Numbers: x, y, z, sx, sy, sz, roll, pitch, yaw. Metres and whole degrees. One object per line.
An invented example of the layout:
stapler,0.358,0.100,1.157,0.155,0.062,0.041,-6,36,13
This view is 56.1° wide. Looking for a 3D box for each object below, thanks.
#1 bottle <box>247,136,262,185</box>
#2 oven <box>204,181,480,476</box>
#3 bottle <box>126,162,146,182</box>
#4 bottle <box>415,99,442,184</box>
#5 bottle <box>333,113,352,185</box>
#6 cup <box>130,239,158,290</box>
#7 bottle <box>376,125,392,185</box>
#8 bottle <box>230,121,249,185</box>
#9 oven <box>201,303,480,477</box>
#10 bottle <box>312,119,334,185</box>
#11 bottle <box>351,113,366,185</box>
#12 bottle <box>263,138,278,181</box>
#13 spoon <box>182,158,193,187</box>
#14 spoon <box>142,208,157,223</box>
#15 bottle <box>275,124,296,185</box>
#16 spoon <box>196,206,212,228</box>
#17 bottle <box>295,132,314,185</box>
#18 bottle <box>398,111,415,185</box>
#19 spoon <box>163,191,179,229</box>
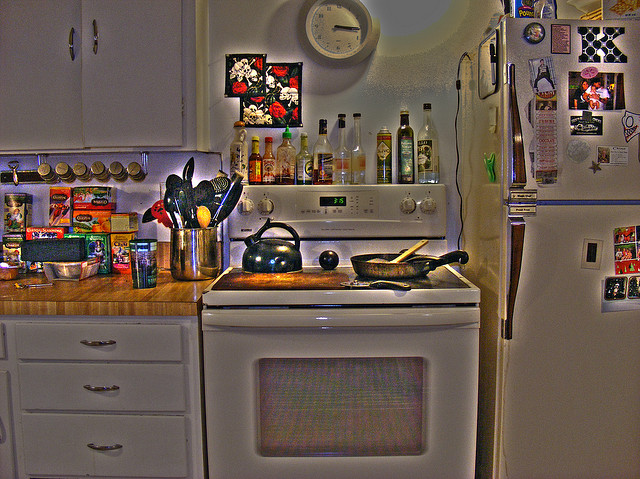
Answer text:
bottle,-0.318,-0.376,2.908,0.070,0.221,0.123,-2,2,-5
oven,0.082,0.447,2.993,1.256,1.929,1.226,0,1,0
bottle,-0.919,-0.333,2.980,0.093,0.094,0.069,-2,2,-18
bottle,0.539,-0.479,2.929,0.107,0.422,0.188,0,2,39
bottle,0.114,-0.431,2.902,0.066,0.330,0.091,0,2,37
cup,-0.777,0.105,2.621,0.129,0.216,0.129,-1,3,0
bottle,0.312,-0.405,2.920,0.069,0.268,0.051,-1,2,10
bottle,-0.390,-0.421,2.877,0.095,0.321,0.245,-2,2,-8
oven,0.085,0.401,2.651,0.981,0.828,0.700,0,-3,-1
bottle,0.013,-0.410,2.873,0.107,0.300,0.091,-1,2,0
bottle,0.187,-0.433,2.930,0.073,0.335,0.148,-1,2,4
bottle,-0.247,-0.380,2.873,0.057,0.201,0.039,-2,2,-10
spoon,-0.611,-0.307,2.752,0.048,0.130,0.125,-2,2,-13
spoon,-0.800,-0.112,2.744,0.052,0.060,0.058,0,3,44
bottle,-0.169,-0.374,2.899,0.103,0.222,0.074,-2,2,-4
spoon,-0.522,-0.099,2.672,0.061,0.090,0.064,-4,-2,-16
bottle,-0.080,-0.386,2.926,0.091,0.245,0.126,-2,2,-8
bottle,0.412,-0.436,2.873,0.075,0.337,0.050,-1,2,2
spoon,-0.664,-0.137,2.659,0.040,0.180,0.025,-14,15,-13
